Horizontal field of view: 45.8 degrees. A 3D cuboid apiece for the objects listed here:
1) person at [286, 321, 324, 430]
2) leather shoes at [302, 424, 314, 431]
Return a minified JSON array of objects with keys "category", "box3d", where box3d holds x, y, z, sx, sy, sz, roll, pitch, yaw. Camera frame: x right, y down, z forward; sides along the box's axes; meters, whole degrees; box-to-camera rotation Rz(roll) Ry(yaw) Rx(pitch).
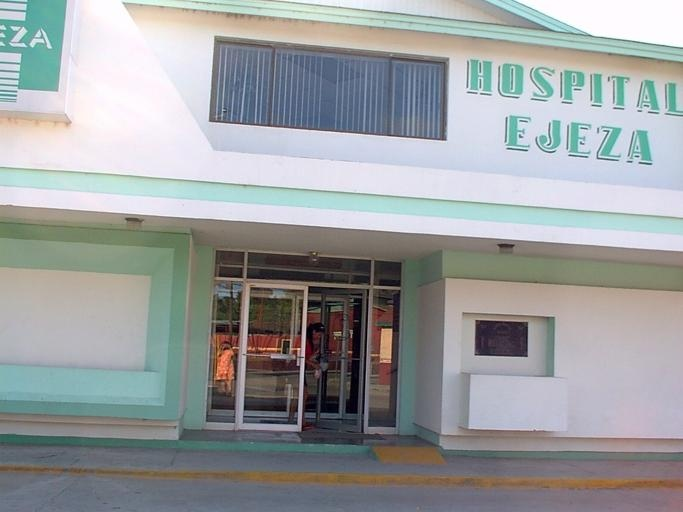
[{"category":"person","box3d":[-0.670,2.280,15.756,0.411,2.028,0.672,0,-6,18]},{"category":"leather shoes","box3d":[-0.662,3.277,15.635,0.206,0.095,0.404,2,-5,-2]}]
